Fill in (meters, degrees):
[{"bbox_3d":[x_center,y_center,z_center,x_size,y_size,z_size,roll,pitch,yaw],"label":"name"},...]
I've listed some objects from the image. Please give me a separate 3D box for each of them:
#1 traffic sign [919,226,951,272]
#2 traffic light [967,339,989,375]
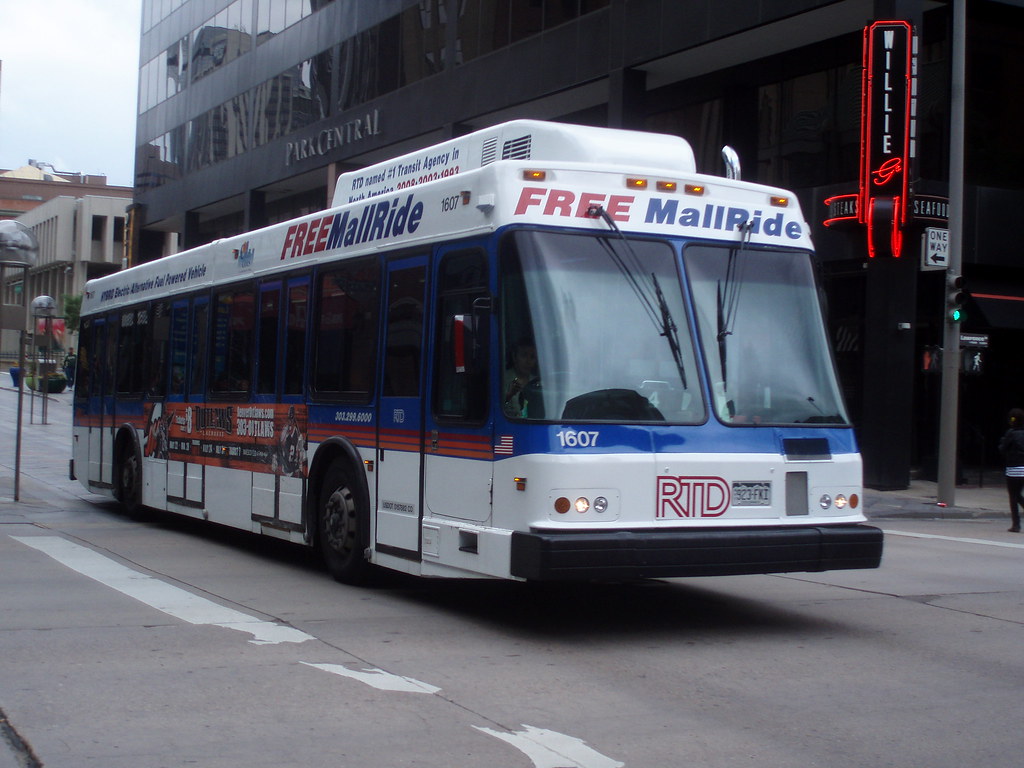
[{"bbox_3d":[8.780,-2.842,20.608,0.478,0.599,0.348,1,-1,15],"label":"traffic sign"},{"bbox_3d":[9.582,-0.653,20.632,0.339,0.520,0.781,1,-1,40],"label":"traffic light"}]
